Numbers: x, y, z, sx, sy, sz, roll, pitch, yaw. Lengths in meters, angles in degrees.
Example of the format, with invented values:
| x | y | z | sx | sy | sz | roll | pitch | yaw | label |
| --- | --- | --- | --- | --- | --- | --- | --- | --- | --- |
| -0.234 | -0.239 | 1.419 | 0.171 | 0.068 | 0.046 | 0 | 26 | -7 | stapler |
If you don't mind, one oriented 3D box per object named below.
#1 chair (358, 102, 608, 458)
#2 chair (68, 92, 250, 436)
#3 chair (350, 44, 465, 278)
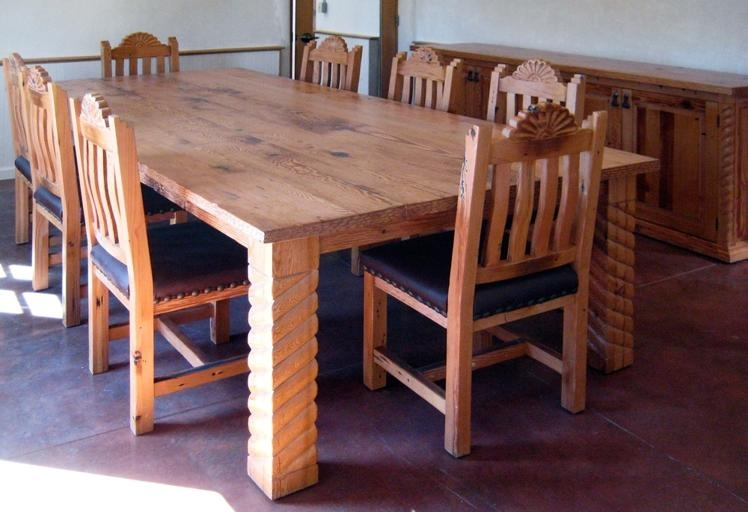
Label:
| x | y | z | sx | sy | sz | roll | pitch | yaw | label |
| --- | --- | --- | --- | --- | --- | --- | --- | --- | --- |
| 0.407 | 0.029 | 2.415 | 0.748 | 1.208 | 0.569 | -10 | 23 | -25 | chair |
| -0.756 | 0.003 | 2.630 | 0.808 | 1.160 | 0.785 | -9 | 24 | -42 | chair |
| 0.185 | -0.716 | 3.253 | 0.440 | 0.705 | 0.461 | 12 | 10 | 24 | chair |
